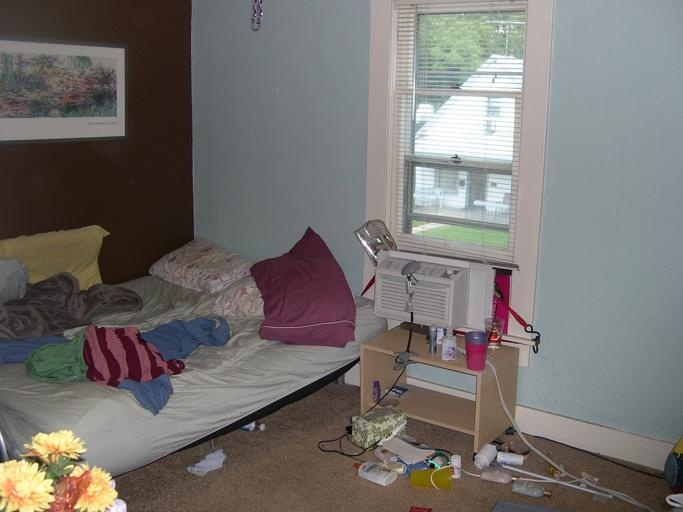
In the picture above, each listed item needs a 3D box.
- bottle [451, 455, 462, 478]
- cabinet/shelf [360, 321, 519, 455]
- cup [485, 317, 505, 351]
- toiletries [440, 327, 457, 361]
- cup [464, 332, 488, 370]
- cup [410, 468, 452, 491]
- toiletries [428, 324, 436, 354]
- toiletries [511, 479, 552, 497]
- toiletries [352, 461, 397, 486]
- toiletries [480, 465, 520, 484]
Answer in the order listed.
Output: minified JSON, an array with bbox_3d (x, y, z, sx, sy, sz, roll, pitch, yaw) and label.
[{"bbox_3d":[0.636,1.151,2.975,0.068,0.095,0.135,5,16,12],"label":"bottle"},{"bbox_3d":[0.588,0.810,3.362,0.816,0.512,0.463,4,11,39],"label":"cabinet/shelf"},{"bbox_3d":[0.911,0.468,3.230,0.131,0.176,0.088,-13,22,-42],"label":"cup"},{"bbox_3d":[0.638,0.508,3.158,0.095,0.166,0.139,5,16,11],"label":"toiletries"},{"bbox_3d":[0.754,0.528,3.009,0.125,0.208,0.108,5,16,12],"label":"cup"},{"bbox_3d":[0.478,1.187,2.860,0.220,0.145,0.144,-1,-2,0],"label":"cup"},{"bbox_3d":[0.548,0.498,3.211,0.042,0.158,0.063,3,16,6],"label":"toiletries"},{"bbox_3d":[0.988,1.220,2.816,0.130,0.033,0.077,6,9,23],"label":"toiletries"},{"bbox_3d":[0.191,1.171,2.928,0.155,0.042,0.089,10,14,42],"label":"toiletries"},{"bbox_3d":[0.842,1.185,2.920,0.111,0.034,0.084,2,5,23],"label":"toiletries"}]
